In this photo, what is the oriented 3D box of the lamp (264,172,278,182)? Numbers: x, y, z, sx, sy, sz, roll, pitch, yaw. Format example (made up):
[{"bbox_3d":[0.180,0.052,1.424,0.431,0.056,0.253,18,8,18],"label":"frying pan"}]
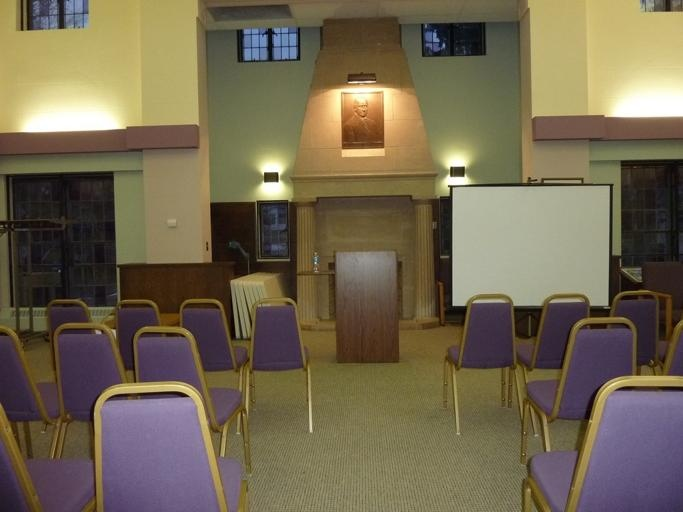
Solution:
[{"bbox_3d":[-1.298,-1.468,13.110,0.287,0.201,0.155,-2,4,-13],"label":"lamp"}]

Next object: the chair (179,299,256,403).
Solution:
[{"bbox_3d":[-1.263,0.911,7.560,0.700,1.728,0.866,0,6,3],"label":"chair"}]
